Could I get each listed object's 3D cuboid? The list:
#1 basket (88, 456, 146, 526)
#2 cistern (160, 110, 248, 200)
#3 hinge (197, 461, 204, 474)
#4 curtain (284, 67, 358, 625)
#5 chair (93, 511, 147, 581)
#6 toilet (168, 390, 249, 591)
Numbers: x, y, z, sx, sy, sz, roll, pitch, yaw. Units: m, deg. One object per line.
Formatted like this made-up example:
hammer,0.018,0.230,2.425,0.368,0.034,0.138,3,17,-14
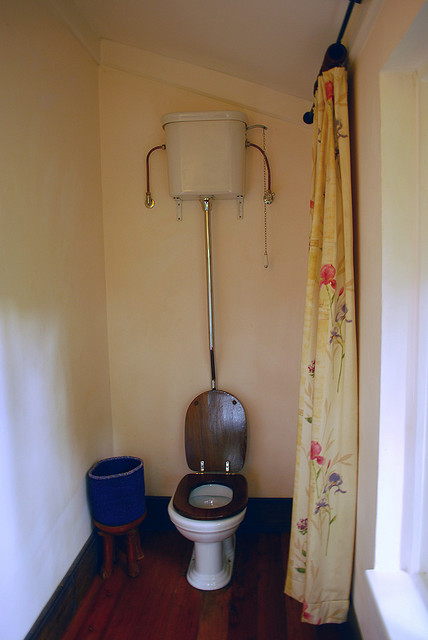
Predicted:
basket,-0.403,0.691,2.056,0.220,0.210,0.263,-3,6,-17
cistern,-0.032,-0.555,2.114,0.400,0.488,0.271,-1,7,1
hinge,-0.058,0.645,2.184,0.037,0.094,0.008,2,12,10
curtain,0.343,0.135,1.624,0.168,1.805,0.271,-3,5,-19
chair,-0.381,0.942,2.046,0.180,0.293,0.215,-1,-9,-14
toilet,-0.017,0.670,2.006,0.298,0.677,0.488,-1,6,4
